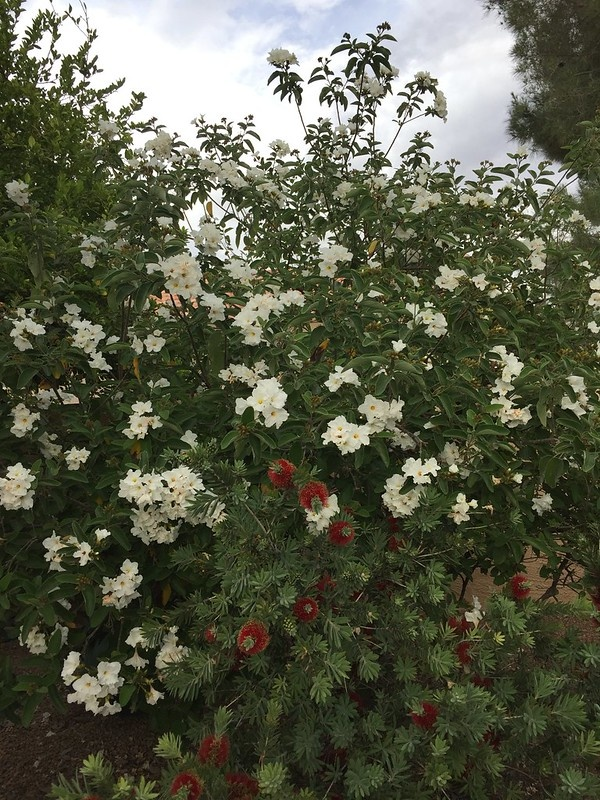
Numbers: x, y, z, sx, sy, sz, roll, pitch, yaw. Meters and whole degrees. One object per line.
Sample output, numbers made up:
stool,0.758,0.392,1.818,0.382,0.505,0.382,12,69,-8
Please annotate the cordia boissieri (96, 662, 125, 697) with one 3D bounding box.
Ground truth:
cordia boissieri,-0.644,0.944,2.069,0.124,0.103,0.043,-2,18,7
